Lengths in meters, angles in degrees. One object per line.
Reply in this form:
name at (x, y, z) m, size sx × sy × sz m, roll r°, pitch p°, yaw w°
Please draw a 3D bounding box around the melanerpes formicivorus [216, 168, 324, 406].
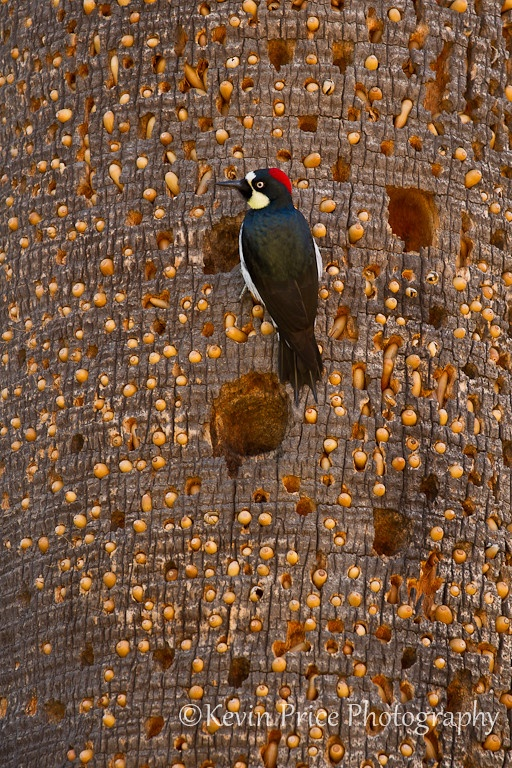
melanerpes formicivorus at (0.058, -0.423, 7.686) m, size 0.285 × 0.372 × 1.076 m, roll -5°, pitch 78°, yaw -11°
